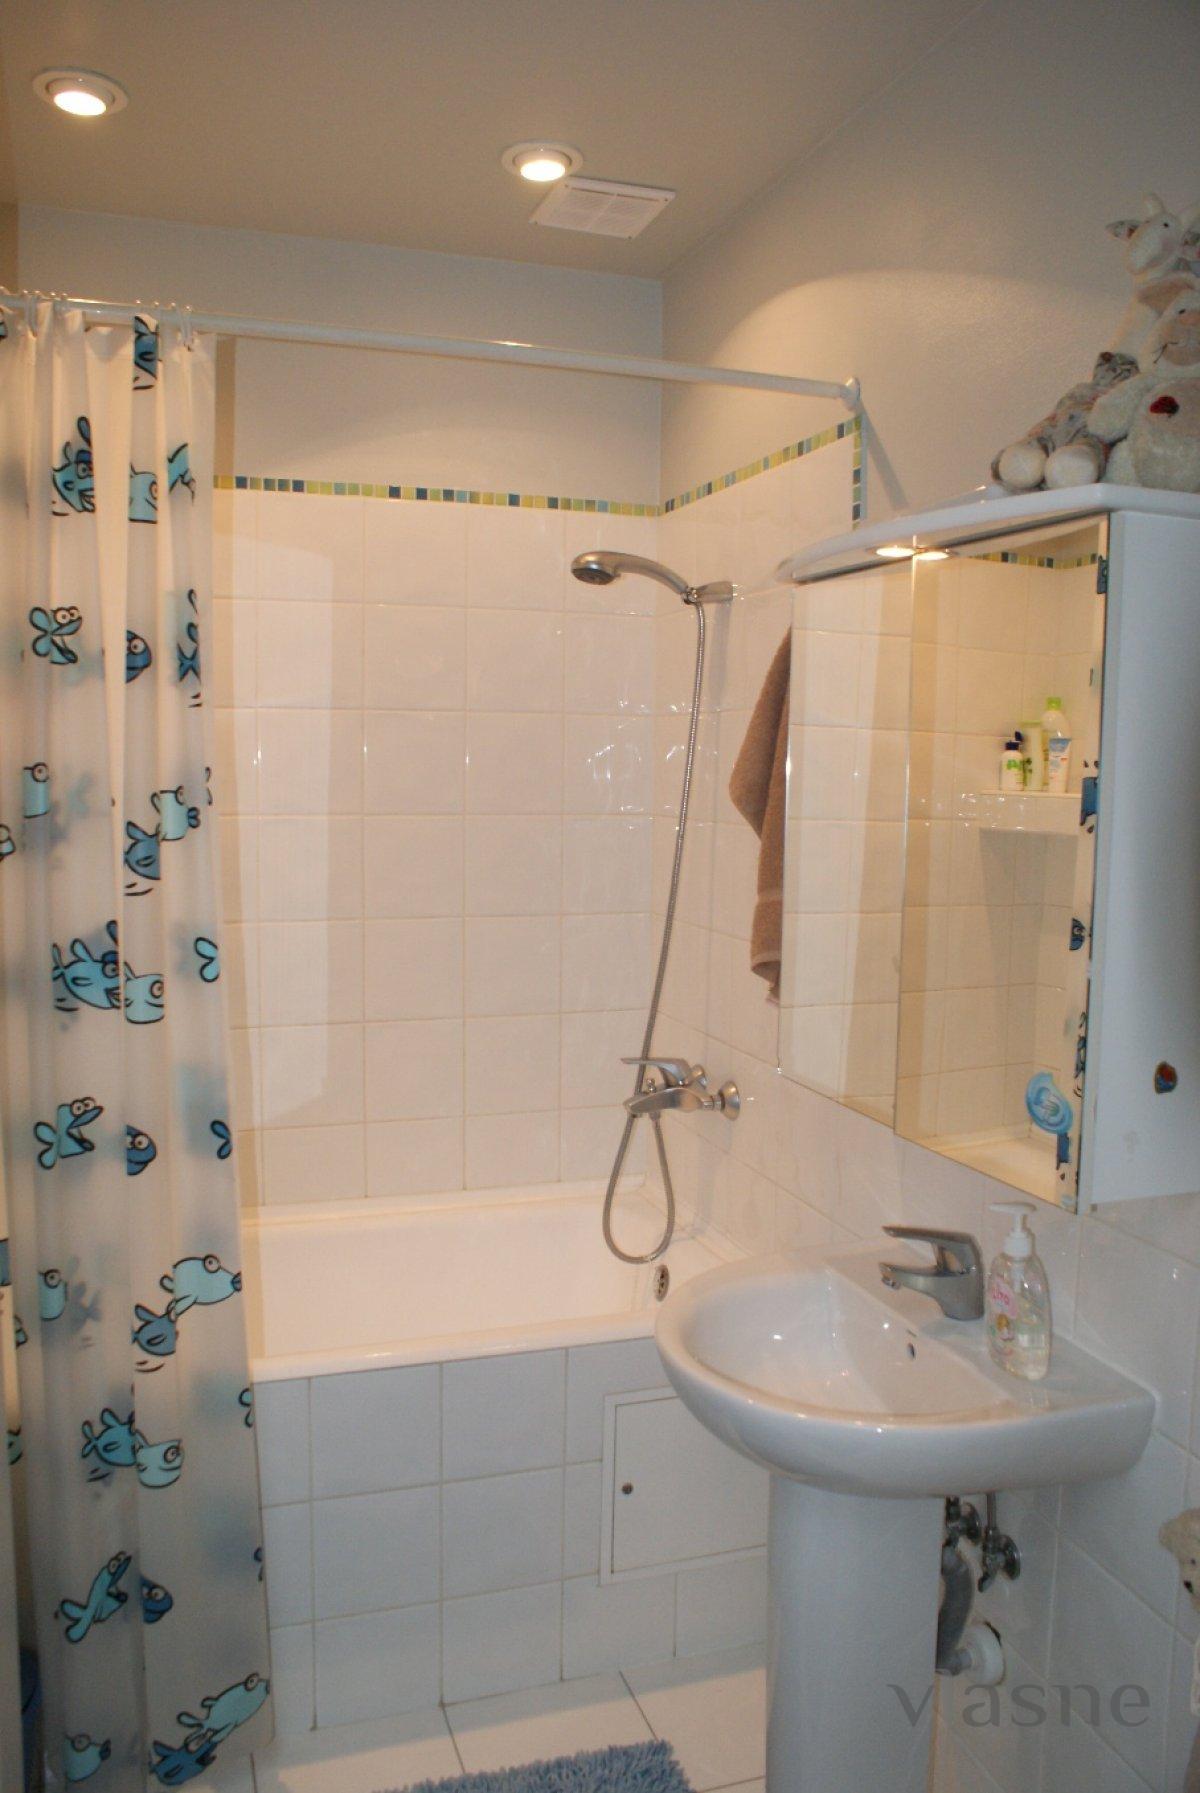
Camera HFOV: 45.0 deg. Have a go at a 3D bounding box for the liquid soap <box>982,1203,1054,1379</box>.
[{"bbox_3d":[0.467,0.441,1.615,0.042,0.172,0.091,0,10,-16],"label":"liquid soap"}]

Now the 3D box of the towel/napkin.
[{"bbox_3d":[0.272,-0.134,2.337,0.081,0.628,0.345,0,5,-13],"label":"towel/napkin"}]

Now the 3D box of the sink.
[{"bbox_3d":[0.336,0.474,1.712,0.462,0.218,0.596,0,3,-18],"label":"sink"}]

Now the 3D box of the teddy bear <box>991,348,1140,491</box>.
[{"bbox_3d":[0.481,-0.465,1.473,0.111,0.153,0.163,-4,13,-25],"label":"teddy bear"}]

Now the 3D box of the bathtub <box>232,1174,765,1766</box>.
[{"bbox_3d":[-0.381,0.830,3.109,1.861,0.692,0.833,-1,6,-19],"label":"bathtub"}]

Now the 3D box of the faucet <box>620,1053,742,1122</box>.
[{"bbox_3d":[0.184,0.396,2.873,0.234,0.120,0.118,1,14,41],"label":"faucet"}]
